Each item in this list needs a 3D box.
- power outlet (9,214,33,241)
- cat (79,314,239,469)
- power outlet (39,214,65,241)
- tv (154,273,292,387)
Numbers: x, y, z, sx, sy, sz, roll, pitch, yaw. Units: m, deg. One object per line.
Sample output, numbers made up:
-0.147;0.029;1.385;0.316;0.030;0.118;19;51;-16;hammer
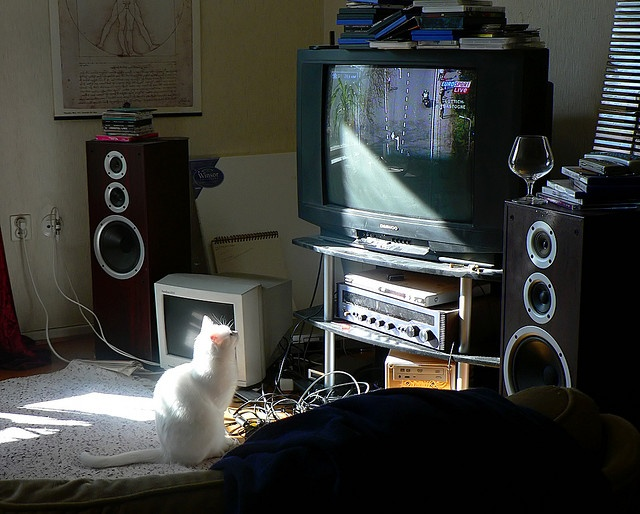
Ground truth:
-1.641;-0.163;3.177;0.122;0.178;0.016;-4;13;-40;power outlet
-0.559;0.507;2.155;0.511;0.528;0.219;-1;2;-15;cat
-1.503;-0.170;3.251;0.122;0.141;0.038;0;5;-36;power outlet
-0.459;0.240;2.844;0.575;0.538;0.490;5;10;32;tv
